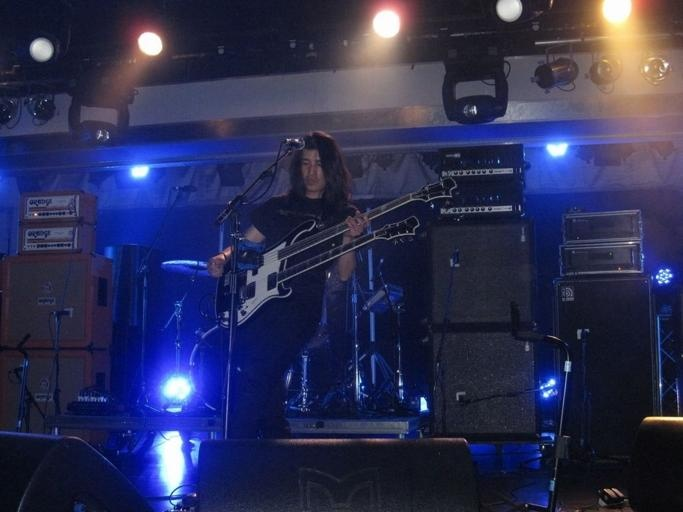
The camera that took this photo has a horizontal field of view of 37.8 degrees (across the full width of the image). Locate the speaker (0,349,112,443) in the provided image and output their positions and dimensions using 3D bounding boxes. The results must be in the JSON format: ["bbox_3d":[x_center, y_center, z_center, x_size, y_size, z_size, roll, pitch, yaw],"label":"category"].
[{"bbox_3d":[-2.600,1.267,8.936,0.951,0.852,0.475,-1,-13,-5],"label":"speaker"}]

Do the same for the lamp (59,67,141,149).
[{"bbox_3d":[-2.082,-1.310,8.704,0.548,0.560,0.369,0,-13,-5],"label":"lamp"}]

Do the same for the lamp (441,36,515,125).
[{"bbox_3d":[1.117,-1.478,8.371,0.538,0.600,0.475,-3,-13,6],"label":"lamp"}]

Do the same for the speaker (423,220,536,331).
[{"bbox_3d":[1.143,0.167,8.118,0.855,0.829,0.827,-1,-2,13],"label":"speaker"}]

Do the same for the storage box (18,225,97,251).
[{"bbox_3d":[-2.628,-0.156,9.203,0.665,0.270,0.212,1,-13,-11],"label":"storage box"}]

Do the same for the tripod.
[{"bbox_3d":[-0.123,0.822,9.445,1.241,1.505,1.285,2,-9,6],"label":"tripod"}]

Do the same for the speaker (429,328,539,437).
[{"bbox_3d":[1.186,1.020,8.366,1.027,0.987,0.762,0,-4,12],"label":"speaker"}]

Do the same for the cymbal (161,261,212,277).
[{"bbox_3d":[-1.463,0.122,9.503,0.609,0.191,0.189,2,3,-32],"label":"cymbal"}]

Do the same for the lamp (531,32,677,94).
[{"bbox_3d":[2.259,-1.648,8.433,1.156,0.232,0.390,0,-34,26],"label":"lamp"}]

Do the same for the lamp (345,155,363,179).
[{"bbox_3d":[0.153,-0.984,11.122,0.252,0.235,0.069,3,20,1],"label":"lamp"}]
